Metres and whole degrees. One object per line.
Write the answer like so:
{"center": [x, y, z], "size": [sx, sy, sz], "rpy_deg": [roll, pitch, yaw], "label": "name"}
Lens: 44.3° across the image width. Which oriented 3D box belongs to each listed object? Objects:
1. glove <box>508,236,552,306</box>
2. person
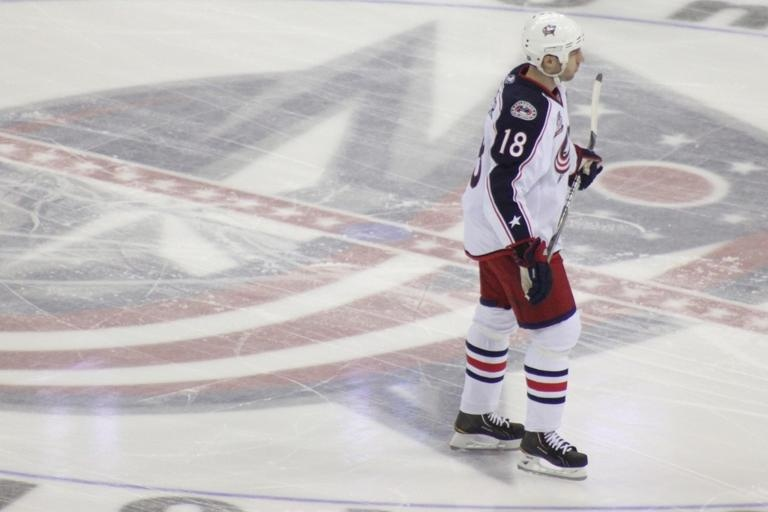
{"center": [0.677, 0.053, 4.257], "size": [0.187, 0.286, 0.274], "rpy_deg": [4, 49, -6], "label": "glove"}
{"center": [0.732, -0.042, 4.417], "size": [0.768, 2.141, 1.169], "rpy_deg": [7, 31, 2], "label": "person"}
